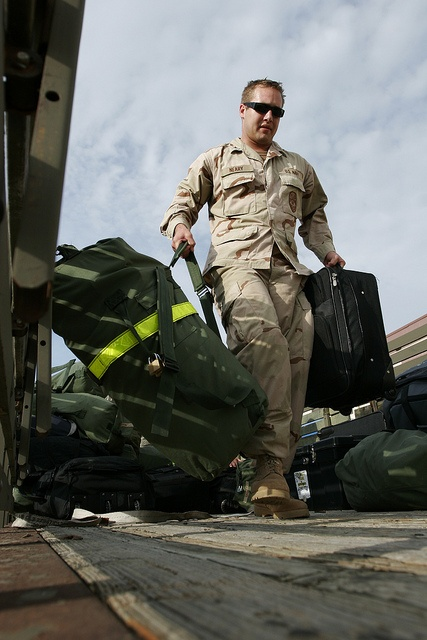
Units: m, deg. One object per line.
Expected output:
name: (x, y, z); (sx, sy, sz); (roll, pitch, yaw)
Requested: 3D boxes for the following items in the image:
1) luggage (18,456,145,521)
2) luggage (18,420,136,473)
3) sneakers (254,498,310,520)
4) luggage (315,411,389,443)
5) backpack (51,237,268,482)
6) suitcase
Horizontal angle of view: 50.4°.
luggage: (-0.623, 0.802, 2.171); (0.459, 0.203, 0.620); (7, -19, -23)
luggage: (-0.835, 0.762, 2.822); (0.669, 0.222, 0.376); (1, -4, -15)
sneakers: (0.286, 0.771, 1.903); (0.252, 0.096, 0.094); (-15, -18, 34)
luggage: (1.085, 0.882, 3.716); (0.490, 0.287, 0.471); (-3, -7, -22)
backpack: (-0.187, 0.112, 1.716); (0.791, 0.986, 0.240); (-2, -13, -20)
suitcase: (0.651, 0.091, 2.341); (0.464, 0.779, 0.344); (-11, -13, 19)
